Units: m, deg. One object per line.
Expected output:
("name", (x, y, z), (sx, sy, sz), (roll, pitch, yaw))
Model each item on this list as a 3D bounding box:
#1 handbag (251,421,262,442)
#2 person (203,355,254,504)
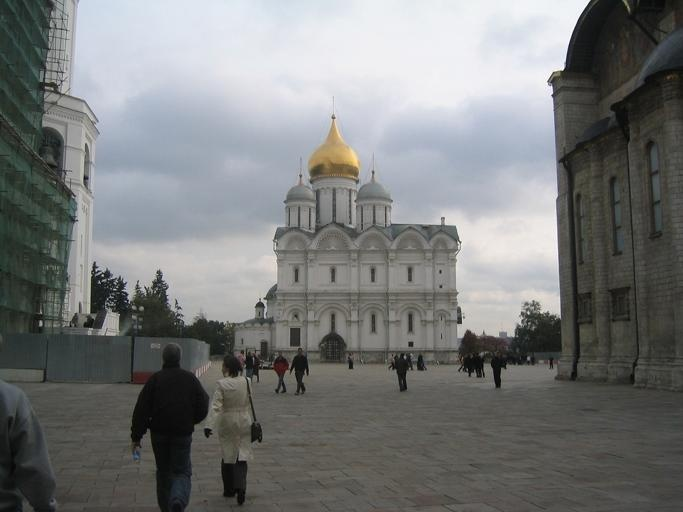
("handbag", (-1.304, 2.712, 10.821), (0.153, 0.330, 0.444), (1, -10, -8))
("person", (-1.673, 2.594, 10.667), (0.677, 2.174, 1.135), (1, -10, -6))
